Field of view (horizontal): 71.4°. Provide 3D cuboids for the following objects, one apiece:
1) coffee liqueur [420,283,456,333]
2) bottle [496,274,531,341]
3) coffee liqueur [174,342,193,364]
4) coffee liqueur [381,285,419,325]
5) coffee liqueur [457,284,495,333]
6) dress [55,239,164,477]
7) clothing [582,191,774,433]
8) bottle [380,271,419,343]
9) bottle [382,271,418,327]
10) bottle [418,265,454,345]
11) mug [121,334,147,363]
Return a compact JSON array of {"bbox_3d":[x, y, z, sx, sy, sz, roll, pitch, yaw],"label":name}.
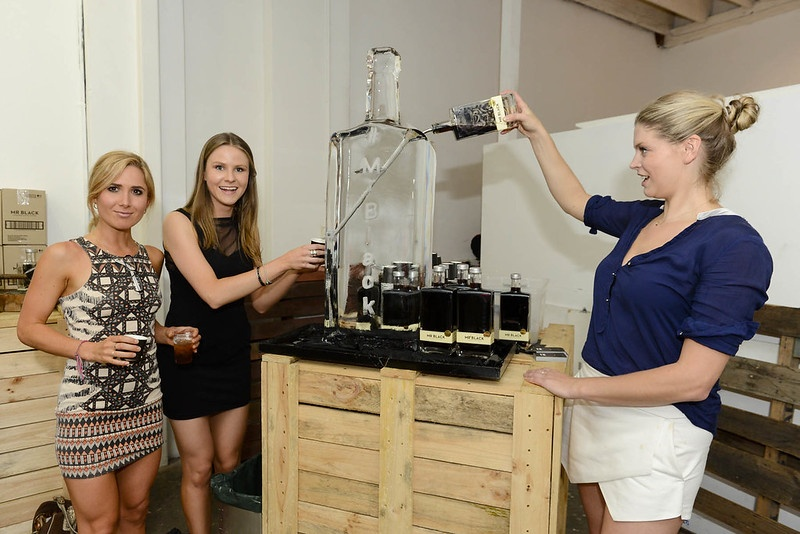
[{"bbox_3d":[0.144,0.162,2.131,0.144,0.206,0.109,4,8,28],"label":"coffee liqueur"},{"bbox_3d":[0.474,0.175,2.300,0.120,0.297,0.088,3,9,20],"label":"bottle"},{"bbox_3d":[-0.990,0.394,2.555,0.092,0.103,0.091,-1,5,-7],"label":"coffee liqueur"},{"bbox_3d":[0.017,0.147,2.277,0.142,0.153,0.147,3,3,21],"label":"coffee liqueur"},{"bbox_3d":[0.285,0.161,2.128,0.170,0.249,0.079,1,8,13],"label":"coffee liqueur"},{"bbox_3d":[-1.329,0.390,2.553,0.443,1.035,0.297,-3,8,-33],"label":"dress"},{"bbox_3d":[1.029,0.085,2.240,0.330,0.720,0.725,-3,9,-33],"label":"clothing"},{"bbox_3d":[0.003,0.142,2.257,0.133,0.242,0.151,3,10,15],"label":"bottle"},{"bbox_3d":[0.000,0.139,2.254,0.151,0.232,0.148,1,11,0],"label":"bottle"},{"bbox_3d":[0.148,0.155,2.186,0.144,0.321,0.116,3,2,20],"label":"bottle"},{"bbox_3d":[-1.184,0.365,2.515,0.080,0.151,0.125,-1,8,-23],"label":"mug"}]
